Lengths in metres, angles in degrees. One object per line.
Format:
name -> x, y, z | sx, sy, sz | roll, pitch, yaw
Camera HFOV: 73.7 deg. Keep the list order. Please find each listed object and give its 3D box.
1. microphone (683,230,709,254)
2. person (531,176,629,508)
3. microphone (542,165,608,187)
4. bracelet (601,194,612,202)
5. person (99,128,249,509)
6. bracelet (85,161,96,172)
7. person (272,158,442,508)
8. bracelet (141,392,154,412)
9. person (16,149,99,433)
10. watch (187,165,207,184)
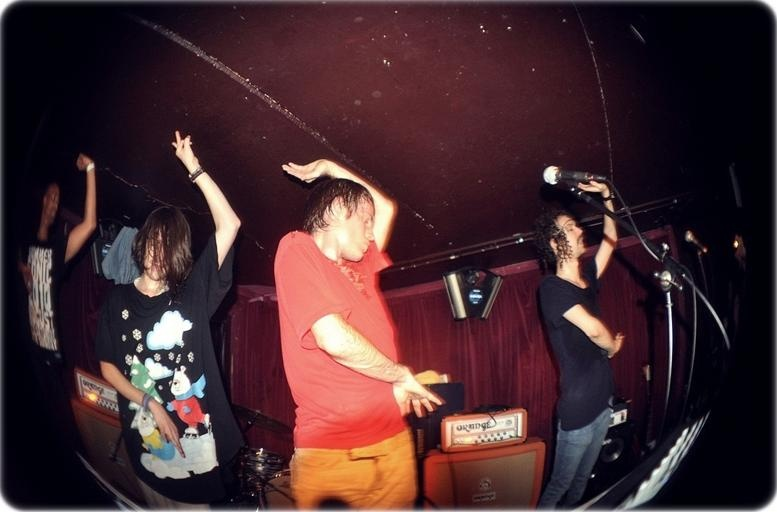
microphone -> 2.101, -0.100, 3.545 | 0.107, 0.046, 0.112 | 42, 32, 1
person -> 1.271, 0.695, 3.473 | 0.657, 2.001, 0.233 | -4, 7, -20
microphone -> 1.202, -0.510, 3.292 | 0.509, 0.116, 0.102 | -6, 8, -32
bracelet -> 1.445, -0.384, 3.405 | 0.079, 0.036, 0.016 | -5, 8, -25
person -> -1.348, 0.429, 3.219 | 0.866, 2.340, 0.250 | -1, 7, 10
bracelet -> -1.848, -0.553, 3.202 | 0.050, 0.043, 0.052 | 0, -8, 18
person -> -0.238, 0.515, 3.181 | 0.836, 2.213, 0.422 | -4, 7, -13
bracelet -> -1.489, 0.897, 3.201 | 0.065, 0.067, 0.095 | 8, 42, -18
person -> -2.141, 0.241, 3.365 | 0.702, 1.757, 0.221 | 2, 8, 29
watch -> -1.169, -0.500, 3.145 | 0.103, 0.067, 0.096 | -39, -9, -18
